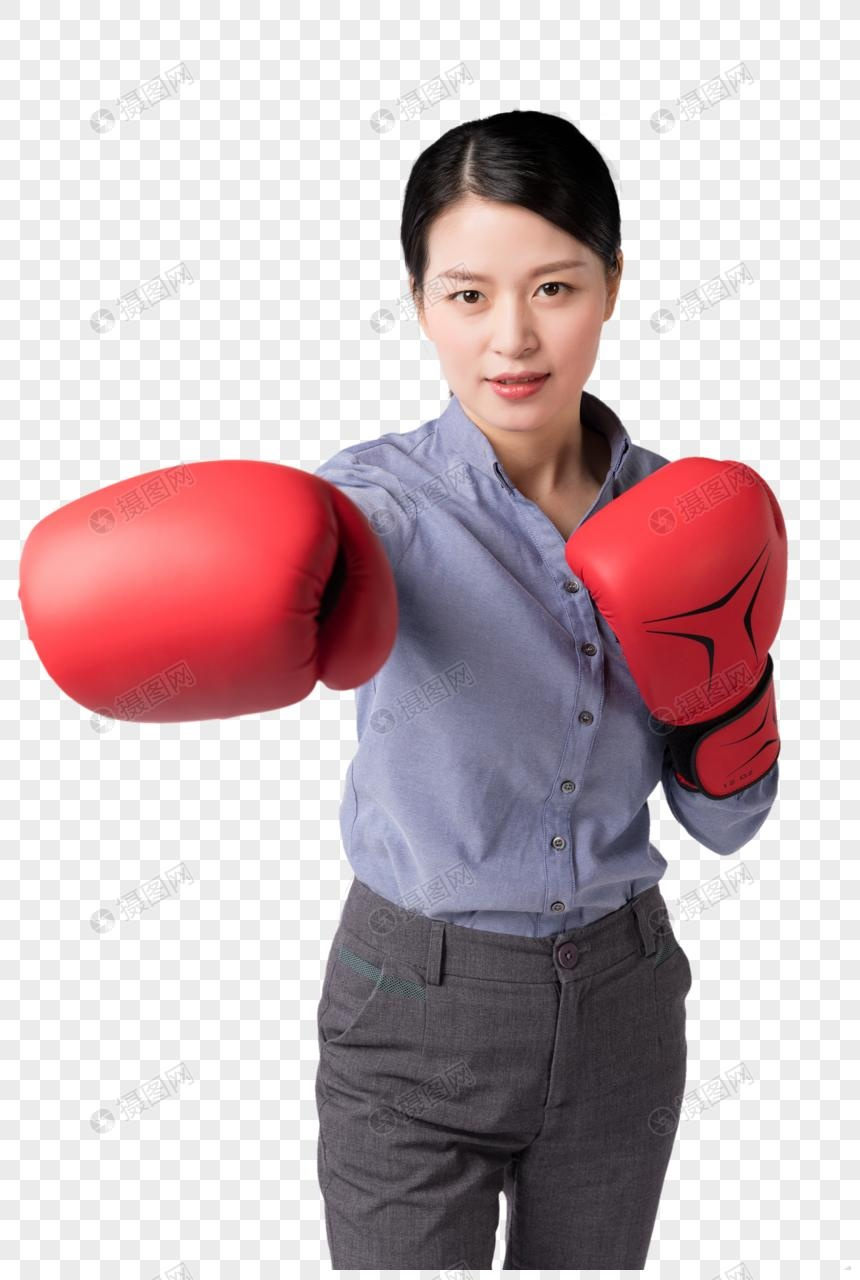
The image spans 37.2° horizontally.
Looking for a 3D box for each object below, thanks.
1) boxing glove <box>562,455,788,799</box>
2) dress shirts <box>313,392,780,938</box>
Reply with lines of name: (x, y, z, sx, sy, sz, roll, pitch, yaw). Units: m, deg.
boxing glove: (0.450, 0.017, 2.111, 0.434, 0.633, 0.200, -33, 39, -28)
dress shirts: (0.155, 0.041, 1.969, 0.935, 0.692, 0.448, 11, 0, -25)
